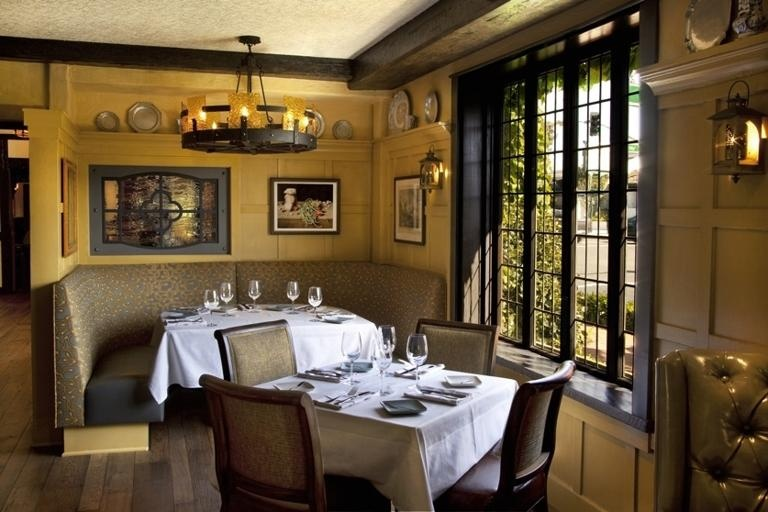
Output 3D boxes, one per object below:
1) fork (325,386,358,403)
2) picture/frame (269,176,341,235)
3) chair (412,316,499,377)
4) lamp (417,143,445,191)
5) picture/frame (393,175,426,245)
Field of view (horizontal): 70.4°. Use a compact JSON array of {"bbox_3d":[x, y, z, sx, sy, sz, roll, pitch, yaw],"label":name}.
[{"bbox_3d":[-0.230,0.773,3.046,0.059,0.016,0.203,0,3,22],"label":"fork"},{"bbox_3d":[-0.932,-0.598,6.237,0.674,0.559,0.050,1,1,-12],"label":"picture/frame"},{"bbox_3d":[0.573,0.614,3.940,0.408,0.712,0.433,2,-8,27],"label":"chair"},{"bbox_3d":[0.464,-0.833,5.176,0.232,0.407,0.181,-2,10,2],"label":"lamp"},{"bbox_3d":[0.283,-0.489,5.698,0.062,0.879,0.761,1,-2,-25],"label":"picture/frame"}]
